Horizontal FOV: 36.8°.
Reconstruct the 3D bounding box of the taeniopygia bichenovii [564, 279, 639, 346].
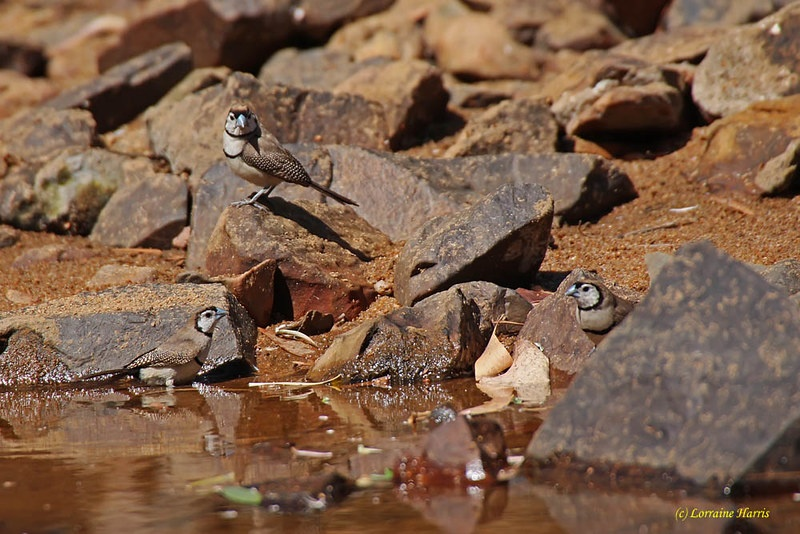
[{"bbox_3d":[2.165,0.422,12.678,0.613,0.525,0.616,-21,63,9],"label":"taeniopygia bichenovii"}]
